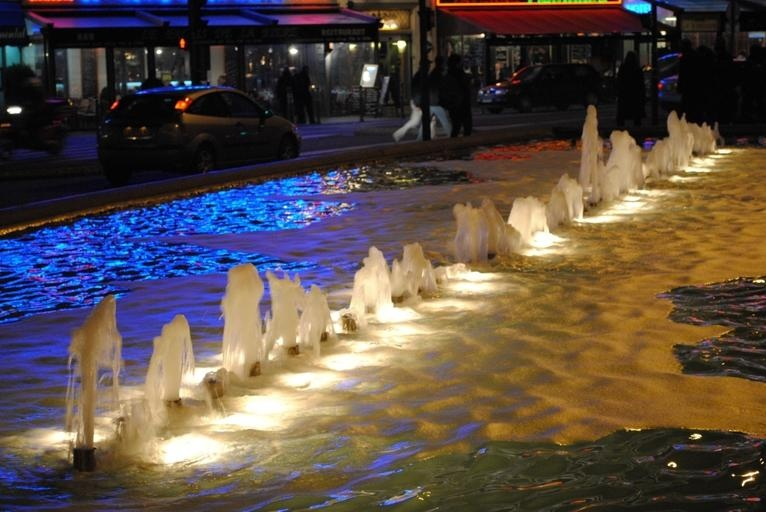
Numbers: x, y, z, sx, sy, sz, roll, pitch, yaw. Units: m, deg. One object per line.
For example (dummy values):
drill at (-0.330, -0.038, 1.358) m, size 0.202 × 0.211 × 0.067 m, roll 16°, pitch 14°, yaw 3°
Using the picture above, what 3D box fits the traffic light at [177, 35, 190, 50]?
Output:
traffic light at (-5.840, -6.304, 25.139) m, size 0.199 × 0.335 × 0.753 m, roll -6°, pitch 16°, yaw -17°

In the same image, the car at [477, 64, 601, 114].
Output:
car at (6.922, -7.404, 37.575) m, size 5.046 × 1.593 × 2.255 m, roll -5°, pitch 9°, yaw -27°

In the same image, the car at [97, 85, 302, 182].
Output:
car at (-3.767, -2.494, 17.722) m, size 2.045 × 1.325 × 3.556 m, roll 8°, pitch 17°, yaw 37°
